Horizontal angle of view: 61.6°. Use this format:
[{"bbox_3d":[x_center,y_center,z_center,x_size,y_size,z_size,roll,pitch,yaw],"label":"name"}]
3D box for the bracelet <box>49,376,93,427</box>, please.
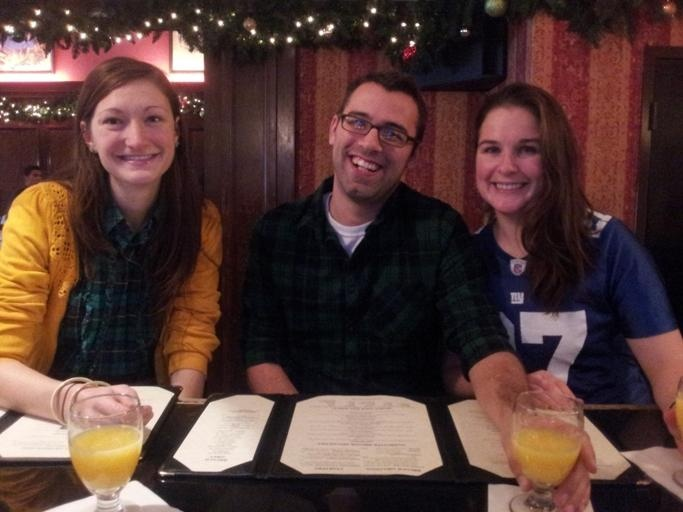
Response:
[{"bbox_3d":[-0.777,0.419,1.640,0.109,0.114,0.028,2,-7,-27],"label":"bracelet"}]
